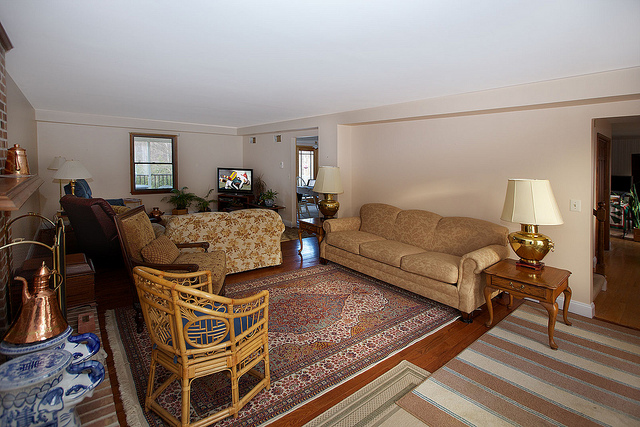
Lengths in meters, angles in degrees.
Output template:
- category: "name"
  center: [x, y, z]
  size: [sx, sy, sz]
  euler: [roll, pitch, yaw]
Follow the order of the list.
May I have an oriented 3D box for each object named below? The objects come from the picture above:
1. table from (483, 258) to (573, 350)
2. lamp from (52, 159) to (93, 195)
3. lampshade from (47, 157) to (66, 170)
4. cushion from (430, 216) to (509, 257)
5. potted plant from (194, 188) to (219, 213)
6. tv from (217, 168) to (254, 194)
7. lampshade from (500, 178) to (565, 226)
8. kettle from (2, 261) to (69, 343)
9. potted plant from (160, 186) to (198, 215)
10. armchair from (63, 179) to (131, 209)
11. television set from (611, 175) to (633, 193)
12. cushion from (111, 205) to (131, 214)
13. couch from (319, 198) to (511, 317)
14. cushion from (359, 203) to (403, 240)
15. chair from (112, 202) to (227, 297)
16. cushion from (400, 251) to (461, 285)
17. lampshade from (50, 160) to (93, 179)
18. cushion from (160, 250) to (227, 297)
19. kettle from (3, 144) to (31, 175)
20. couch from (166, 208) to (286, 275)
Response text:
- category: "table"
  center: [2.359, 0.975, 4.253]
  size: [0.743, 0.661, 0.845]
  euler: [-11, 12, -32]
- category: "lamp"
  center: [-3.883, -0.555, 6.068]
  size: [0.574, 0.750, 0.624]
  euler: [-2, 9, -21]
- category: "lampshade"
  center: [-5.035, -0.944, 7.084]
  size: [0.327, 0.276, 0.333]
  euler: [6, 7, 36]
- category: "cushion"
  center: [2.021, 0.308, 5.078]
  size: [0.524, 0.608, 0.917]
  euler: [1, 0, -38]
- category: "potted plant"
  center: [-2.933, -0.345, 9.516]
  size: [0.603, 0.573, 0.559]
  euler: [-3, 12, -21]
- category: "tv"
  center: [-2.175, -0.789, 9.511]
  size: [1.090, 0.727, 0.288]
  euler: [5, 10, 21]
- category: "lampshade"
  center: [2.331, -0.138, 4.116]
  size: [0.536, 0.506, 0.547]
  euler: [2, 8, 41]
- category: "kettle"
  center: [-1.944, 0.610, 2.530]
  size: [0.347, 0.502, 0.215]
  euler: [-5, 8, -40]
- category: "potted plant"
  center: [-3.529, -0.295, 9.303]
  size: [0.768, 0.682, 0.742]
  euler: [-2, 4, -37]
- category: "armchair"
  center: [-4.096, -0.400, 6.784]
  size: [0.766, 0.812, 0.610]
  euler: [1, 5, -32]
- category: "television set"
  center: [7.161, -0.693, 8.833]
  size: [0.172, 0.407, 0.592]
  euler: [-6, 8, -39]
- category: "cushion"
  center: [-2.876, -0.052, 5.361]
  size: [0.183, 0.057, 0.182]
  euler: [11, 10, 28]
- category: "couch"
  center: [1.289, 0.537, 5.312]
  size: [0.922, 1.189, 2.363]
  euler: [-5, 8, -40]
- category: "cushion"
  center: [0.968, 0.104, 6.173]
  size: [0.667, 0.482, 0.352]
  euler: [16, 31, 34]
- category: "chair"
  center: [-1.695, 0.618, 4.442]
  size: [1.087, 1.301, 0.865]
  euler: [5, 16, -3]
- category: "cushion"
  center: [1.423, 0.698, 4.739]
  size: [0.789, 0.245, 0.327]
  euler: [5, 8, 42]
- category: "lampshade"
  center: [-3.957, -0.668, 5.903]
  size: [0.401, 0.232, 0.388]
  euler: [-2, 10, -23]
- category: "cushion"
  center: [-1.406, 0.666, 4.466]
  size: [0.468, 0.310, 0.607]
  euler: [0, 3, -12]
- category: "kettle"
  center: [-2.728, -0.463, 3.262]
  size: [0.227, 0.276, 0.275]
  euler: [0, 4, -43]
- category: "couch"
  center: [-1.423, 0.419, 5.656]
  size: [1.756, 0.902, 0.625]
  euler: [-4, -3, -37]
